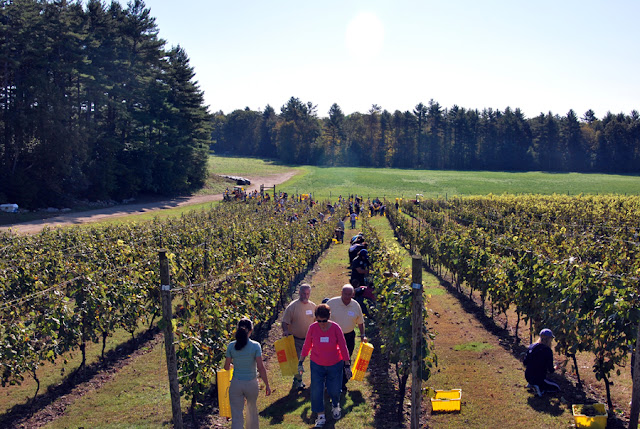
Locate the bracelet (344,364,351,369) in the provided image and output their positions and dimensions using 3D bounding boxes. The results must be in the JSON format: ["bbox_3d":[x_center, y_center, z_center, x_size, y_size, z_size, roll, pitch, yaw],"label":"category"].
[{"bbox_3d":[1.045,5.841,22.349,0.203,0.080,0.218,1,6,-8],"label":"bracelet"}]

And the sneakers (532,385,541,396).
[{"bbox_3d":[8.803,7.100,23.392,0.268,0.408,0.100,16,-27,-29],"label":"sneakers"}]
